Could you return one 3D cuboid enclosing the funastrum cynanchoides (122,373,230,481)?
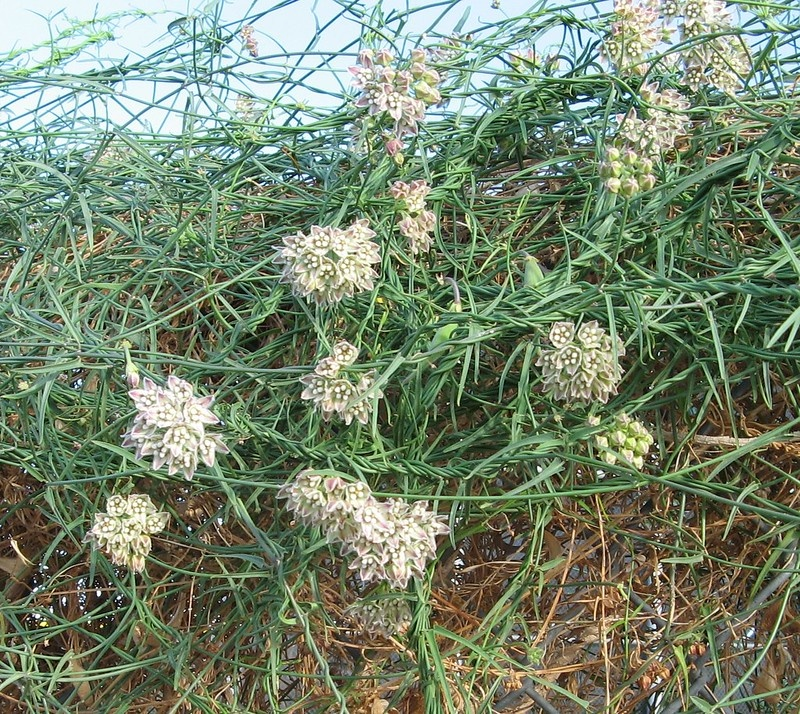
[{"bbox_3d":[-0.262,0.066,0.980,0.102,0.105,0.161,-16,21,-25],"label":"funastrum cynanchoides"}]
